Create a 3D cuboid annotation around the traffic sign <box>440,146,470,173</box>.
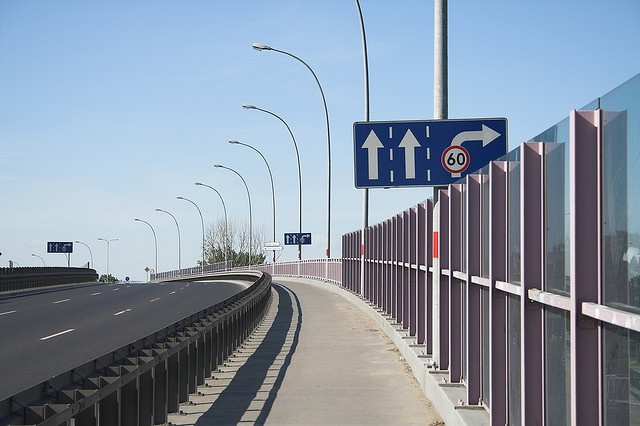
[{"bbox_3d":[2.296,-0.894,11.590,0.425,0.503,0.065,0,-5,22],"label":"traffic sign"}]
